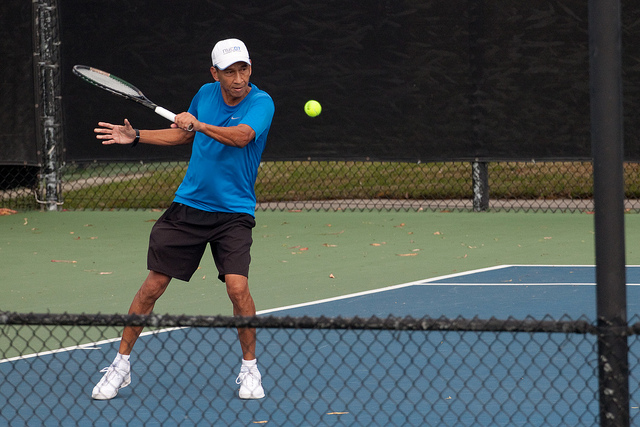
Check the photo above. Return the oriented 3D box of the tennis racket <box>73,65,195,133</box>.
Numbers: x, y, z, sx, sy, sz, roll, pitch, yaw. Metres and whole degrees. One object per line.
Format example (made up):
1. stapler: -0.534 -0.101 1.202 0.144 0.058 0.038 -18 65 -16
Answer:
1. tennis racket: -2.179 -1.421 9.817 2.111 0.162 0.550 31 16 20

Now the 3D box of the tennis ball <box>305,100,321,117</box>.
1. tennis ball: -0.109 -1.371 10.545 0.170 0.179 0.165 -1 6 0

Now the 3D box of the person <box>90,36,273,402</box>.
1. person: -0.960 0.021 6.054 1.244 2.601 0.907 -2 6 -4
